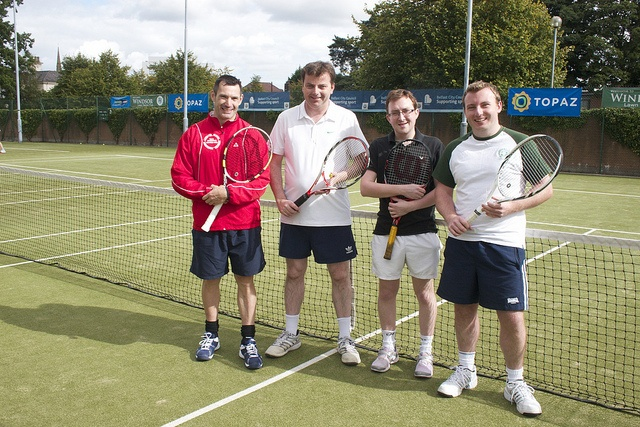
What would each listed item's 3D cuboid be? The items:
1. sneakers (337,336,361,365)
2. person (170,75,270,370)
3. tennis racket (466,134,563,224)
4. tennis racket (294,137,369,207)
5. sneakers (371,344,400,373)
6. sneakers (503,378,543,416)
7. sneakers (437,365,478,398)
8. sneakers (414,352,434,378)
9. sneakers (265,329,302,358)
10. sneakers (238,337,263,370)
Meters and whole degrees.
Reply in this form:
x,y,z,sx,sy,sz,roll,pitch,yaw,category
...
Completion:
x,y,z,sx,sy,sz,roll,pitch,yaw,category
0.324,1.523,5.976,0.259,0.235,0.253,3,8,2,sneakers
-1.094,0.049,5.918,1.070,3.119,0.749,2,8,0,person
1.938,-0.417,5.167,0.610,0.648,0.428,5,8,17,tennis racket
0.188,-0.444,6.032,0.448,1.137,0.089,47,8,7,tennis racket
0.719,1.562,5.884,0.178,0.183,0.484,3,9,30,sneakers
1.989,1.782,5.316,0.250,0.236,0.544,0,6,-9,sneakers
1.431,1.696,5.538,0.522,0.247,0.179,-4,4,-36,sneakers
1.102,1.614,5.707,0.157,0.190,0.463,-1,-11,10,sneakers
-0.405,1.473,6.143,0.188,0.235,0.525,1,6,37,sneakers
-0.753,1.519,5.884,0.254,0.263,0.304,1,8,-9,sneakers
